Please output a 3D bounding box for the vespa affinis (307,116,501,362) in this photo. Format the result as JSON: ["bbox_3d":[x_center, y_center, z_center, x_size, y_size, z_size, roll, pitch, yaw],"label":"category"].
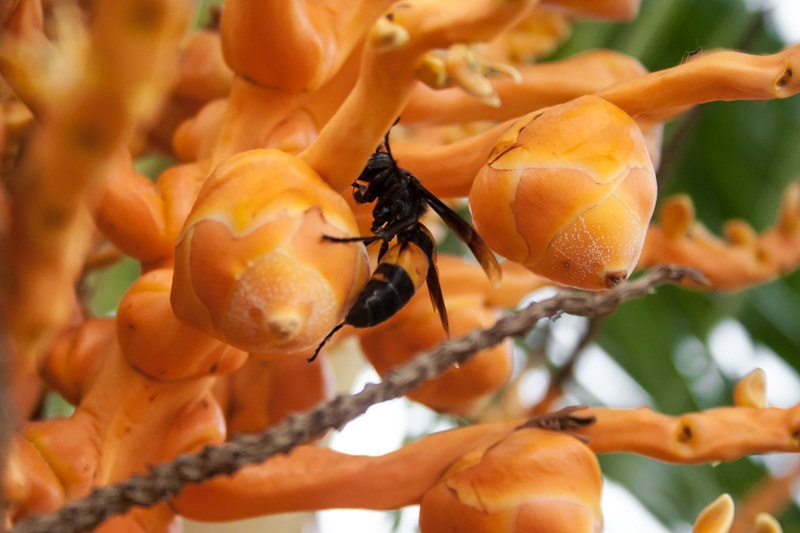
[{"bbox_3d":[-0.007,-0.055,1.147,0.080,0.194,0.251,-32,55,-2],"label":"vespa affinis"}]
